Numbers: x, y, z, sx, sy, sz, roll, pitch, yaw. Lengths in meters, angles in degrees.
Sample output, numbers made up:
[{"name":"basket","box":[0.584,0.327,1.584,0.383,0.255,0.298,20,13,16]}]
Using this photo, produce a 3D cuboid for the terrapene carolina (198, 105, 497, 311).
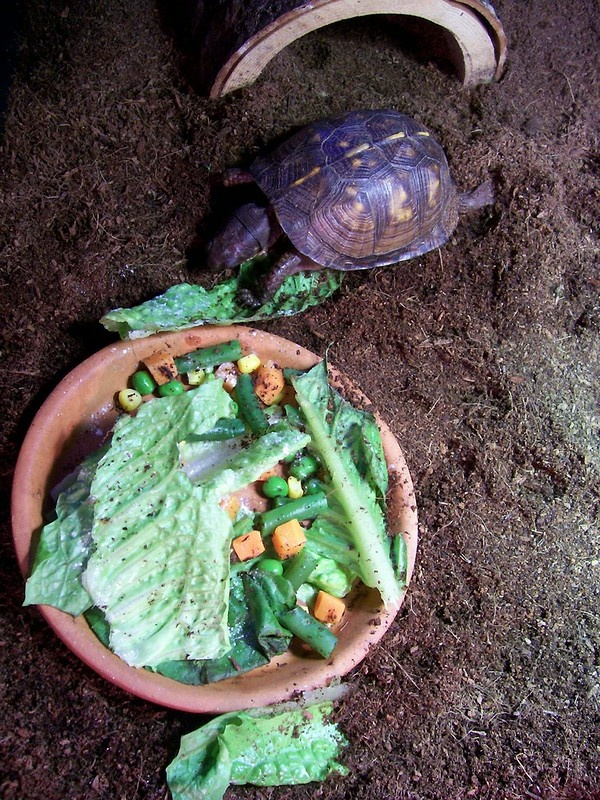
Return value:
[{"name":"terrapene carolina","box":[0.173,-0.907,3.215,1.317,0.472,0.658,-19,82,-4]}]
